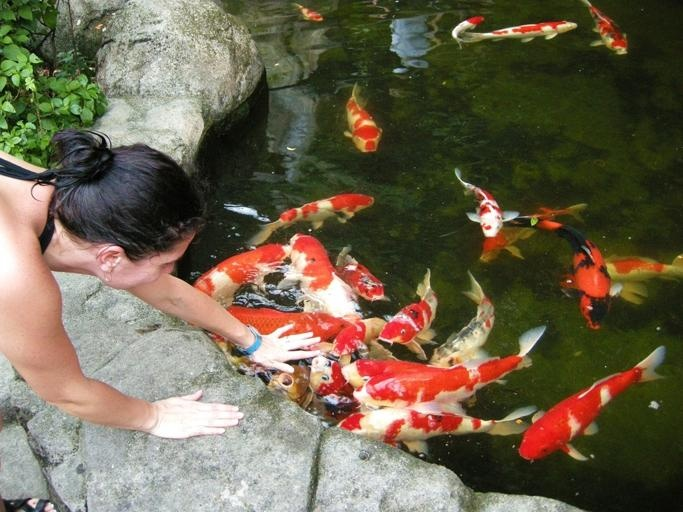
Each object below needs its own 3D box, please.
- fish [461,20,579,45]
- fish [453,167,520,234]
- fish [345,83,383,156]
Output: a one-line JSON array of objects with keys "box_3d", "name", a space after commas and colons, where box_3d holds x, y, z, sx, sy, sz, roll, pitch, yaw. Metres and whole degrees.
[{"box_3d": [2.016, -2.512, 8.209, 1.410, 0.264, 0.204, -4, 57, 2], "name": "fish"}, {"box_3d": [1.136, -0.444, 6.121, 0.344, 0.240, 0.611, -36, 42, -14], "name": "fish"}, {"box_3d": [0.253, -1.285, 6.961, 0.371, 0.285, 0.666, -17, 57, -7], "name": "fish"}]
